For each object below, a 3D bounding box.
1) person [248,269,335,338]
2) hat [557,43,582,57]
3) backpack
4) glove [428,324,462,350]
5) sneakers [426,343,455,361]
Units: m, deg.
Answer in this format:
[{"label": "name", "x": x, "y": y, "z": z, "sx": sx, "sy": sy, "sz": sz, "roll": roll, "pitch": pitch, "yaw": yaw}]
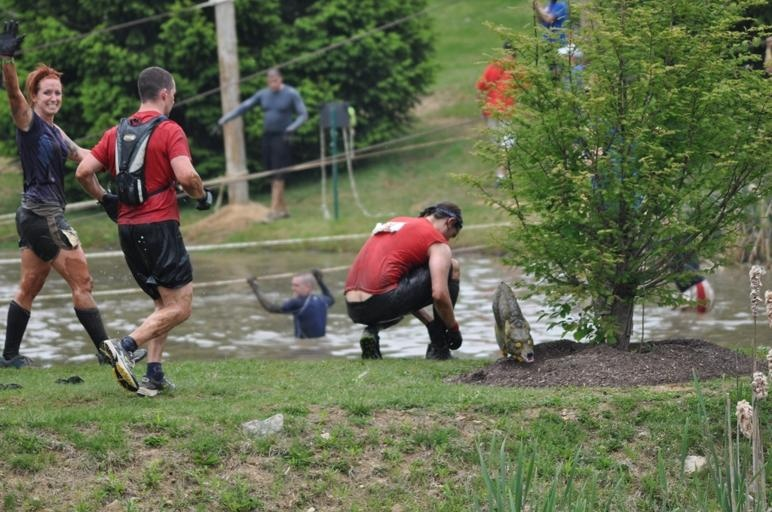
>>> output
[{"label": "person", "x": -1.081, "y": 0.684, "z": 21.579, "sx": 0.417, "sy": 0.977, "sz": 1.469, "roll": 0, "pitch": 8, "yaw": 27}, {"label": "hat", "x": 2.150, "y": -2.312, "z": 19.964, "sx": 0.183, "sy": 0.141, "sz": 0.177, "roll": -2, "pitch": 6, "yaw": -31}, {"label": "backpack", "x": -2.729, "y": -1.015, "z": 19.312, "sx": 0.584, "sy": 0.976, "sz": 0.276, "roll": -5, "pitch": 8, "yaw": -4}, {"label": "glove", "x": 0.736, "y": 1.005, "z": 21.136, "sx": 0.388, "sy": 0.313, "sz": 0.284, "roll": -6, "pitch": 6, "yaw": -11}, {"label": "sneakers", "x": 0.709, "y": 1.198, "z": 21.177, "sx": 0.401, "sy": 0.247, "sz": 0.135, "roll": -2, "pitch": 4, "yaw": -1}]
